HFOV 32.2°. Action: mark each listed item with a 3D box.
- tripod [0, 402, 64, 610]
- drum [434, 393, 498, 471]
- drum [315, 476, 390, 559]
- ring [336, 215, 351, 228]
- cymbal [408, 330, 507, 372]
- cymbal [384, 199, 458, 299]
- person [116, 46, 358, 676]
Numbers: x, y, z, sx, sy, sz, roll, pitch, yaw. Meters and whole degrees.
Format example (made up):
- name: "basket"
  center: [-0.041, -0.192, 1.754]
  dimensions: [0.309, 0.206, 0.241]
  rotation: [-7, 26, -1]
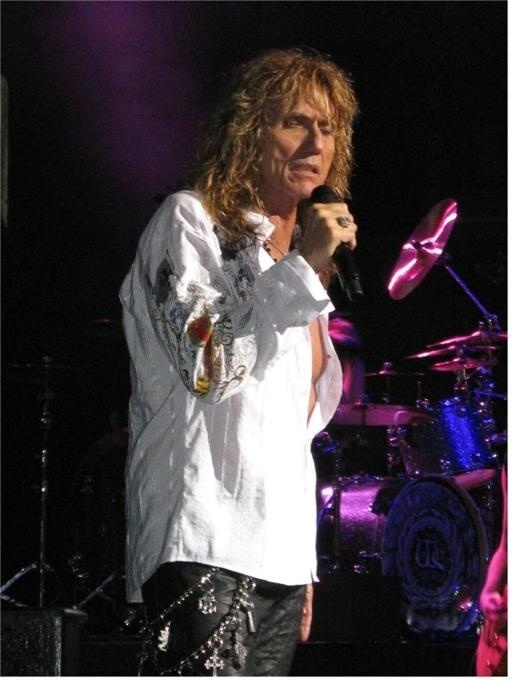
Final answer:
- name: "tripod"
  center: [-1.473, 1.039, 5.694]
  dimensions: [0.320, 1.261, 0.775]
  rotation: [1, -6, -13]
- name: "drum"
  center: [1.168, 0.529, 4.895]
  dimensions: [0.135, 0.427, 0.363]
  rotation: [4, -8, -37]
- name: "drum"
  center: [0.532, 1.059, 5.210]
  dimensions: [0.440, 0.489, 0.519]
  rotation: [-4, -16, 16]
- name: "ring"
  center: [0.219, -0.291, 2.186]
  dimensions: [0.027, 0.031, 0.013]
  rotation: [-37, 36, -27]
- name: "cymbal"
  center: [1.254, 0.087, 5.388]
  dimensions: [0.467, 0.236, 0.988]
  rotation: [0, -6, -9]
- name: "cymbal"
  center: [0.968, -0.518, 5.178]
  dimensions: [0.150, 0.537, 0.512]
  rotation: [37, -50, 0]
- name: "person"
  center: [-0.021, -0.019, 2.351]
  dimensions: [0.645, 1.773, 0.536]
  rotation: [1, -6, -15]
